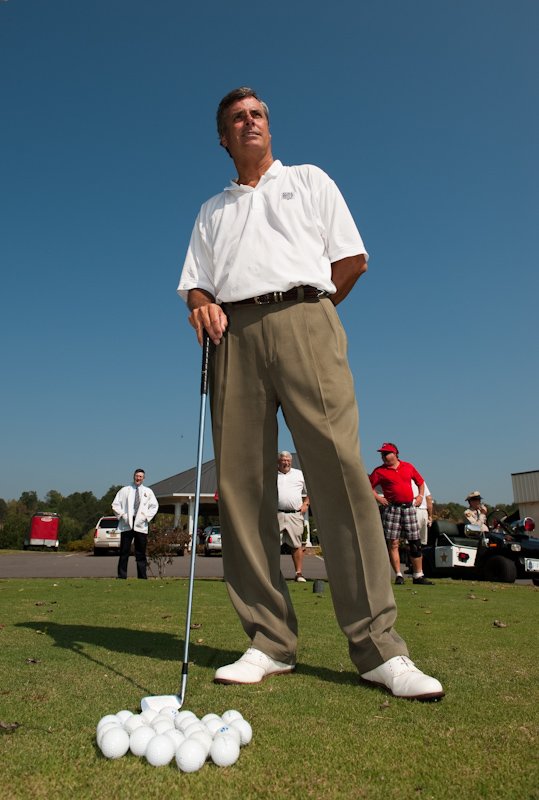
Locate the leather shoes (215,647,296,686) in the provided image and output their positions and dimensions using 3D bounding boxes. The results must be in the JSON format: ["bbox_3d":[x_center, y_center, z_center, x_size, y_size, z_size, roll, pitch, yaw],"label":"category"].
[{"bbox_3d":[-0.052,0.972,2.386,0.143,0.096,0.376,-6,-12,26],"label":"leather shoes"}]

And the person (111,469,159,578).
[{"bbox_3d":[-2.426,2.188,11.551,0.751,1.901,0.571,0,-7,4],"label":"person"}]

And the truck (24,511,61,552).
[{"bbox_3d":[-15.838,9.244,44.943,1.664,2.004,3.271,5,-31,-16],"label":"truck"}]

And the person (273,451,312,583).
[{"bbox_3d":[0.348,1.753,10.304,0.652,2.140,0.694,1,-3,-14],"label":"person"}]
